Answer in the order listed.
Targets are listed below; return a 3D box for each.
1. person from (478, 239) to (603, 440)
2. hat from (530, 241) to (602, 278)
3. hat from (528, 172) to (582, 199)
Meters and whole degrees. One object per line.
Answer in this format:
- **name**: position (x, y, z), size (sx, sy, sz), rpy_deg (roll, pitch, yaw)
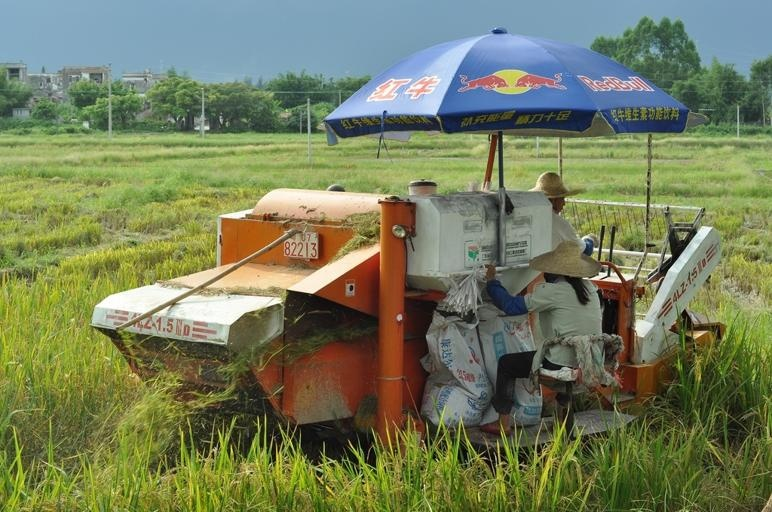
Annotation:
- **person**: position (1.616, 0.867, 8.205), size (1.204, 2.080, 1.051), rpy_deg (11, 6, 39)
- **hat**: position (1.739, -0.048, 7.880), size (0.427, 0.185, 0.441), rpy_deg (-7, 10, -42)
- **hat**: position (2.054, -0.841, 9.574), size (0.427, 0.203, 0.515), rpy_deg (-1, 4, 34)
